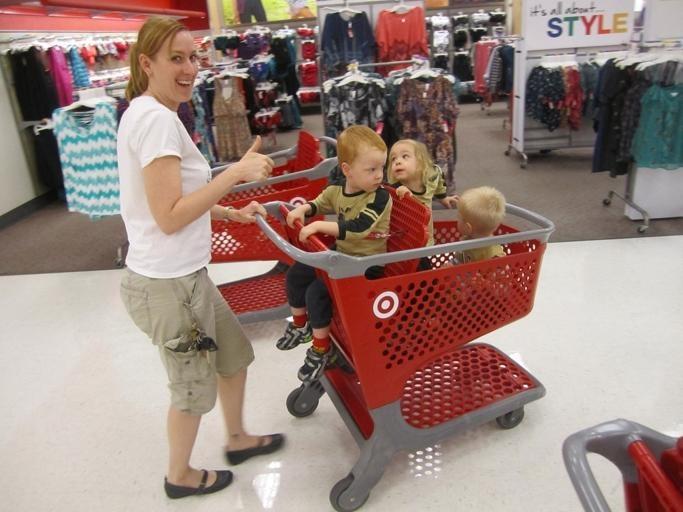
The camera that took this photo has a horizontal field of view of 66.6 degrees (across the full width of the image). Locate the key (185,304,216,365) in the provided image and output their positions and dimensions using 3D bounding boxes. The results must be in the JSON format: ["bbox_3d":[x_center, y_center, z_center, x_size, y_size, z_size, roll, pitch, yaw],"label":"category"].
[{"bbox_3d":[-0.603,0.342,2.203,0.085,0.209,0.104,1,18,-11],"label":"key"}]

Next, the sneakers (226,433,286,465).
[{"bbox_3d":[-0.436,1.006,2.721,0.339,0.121,0.113,-18,17,-18],"label":"sneakers"}]

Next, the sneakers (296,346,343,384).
[{"bbox_3d":[-0.112,0.508,2.503,0.108,0.122,0.260,19,32,36],"label":"sneakers"}]

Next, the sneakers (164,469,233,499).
[{"bbox_3d":[-0.695,1.096,2.532,0.309,0.108,0.129,-7,14,-17],"label":"sneakers"}]

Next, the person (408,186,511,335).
[{"bbox_3d":[0.556,0.045,2.449,0.316,0.782,0.256,-13,16,-39],"label":"person"}]

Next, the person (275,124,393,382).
[{"bbox_3d":[0.004,-0.079,2.505,0.589,1.234,0.594,4,22,6],"label":"person"}]

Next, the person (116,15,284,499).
[{"bbox_3d":[-0.674,0.085,2.327,0.770,2.085,0.525,-21,30,-30],"label":"person"}]
